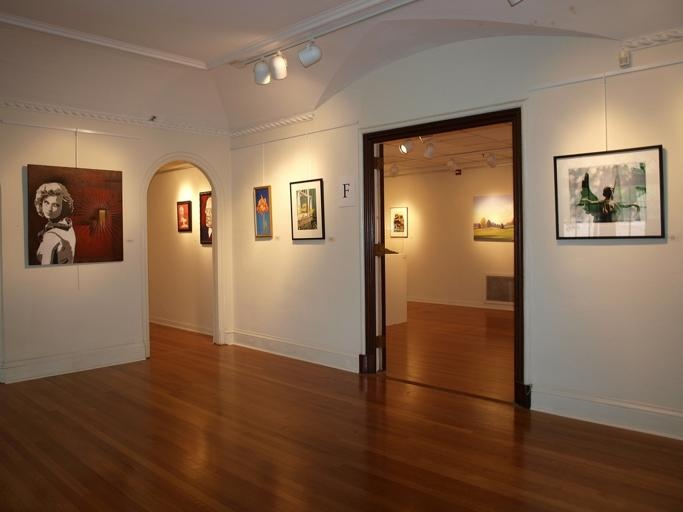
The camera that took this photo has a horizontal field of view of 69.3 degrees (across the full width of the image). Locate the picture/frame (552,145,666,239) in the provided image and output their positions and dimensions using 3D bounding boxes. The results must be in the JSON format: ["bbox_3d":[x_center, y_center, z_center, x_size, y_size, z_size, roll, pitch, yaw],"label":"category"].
[{"bbox_3d":[2.729,-0.651,4.975,0.854,0.925,0.045,0,4,33],"label":"picture/frame"}]

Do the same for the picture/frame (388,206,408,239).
[{"bbox_3d":[1.543,-0.917,13.423,0.764,1.262,0.053,1,1,44],"label":"picture/frame"}]

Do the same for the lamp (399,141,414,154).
[{"bbox_3d":[1.176,-2.025,9.256,0.220,0.248,0.252,13,28,29],"label":"lamp"}]

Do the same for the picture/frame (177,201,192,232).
[{"bbox_3d":[-2.995,-0.769,9.456,0.063,0.697,0.530,-1,1,-44],"label":"picture/frame"}]

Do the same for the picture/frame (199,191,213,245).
[{"bbox_3d":[-2.452,-0.703,8.968,0.068,1.134,0.893,-1,1,-27],"label":"picture/frame"}]

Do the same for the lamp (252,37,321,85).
[{"bbox_3d":[-0.706,-2.386,6.237,0.848,0.418,0.286,-13,4,2],"label":"lamp"}]
